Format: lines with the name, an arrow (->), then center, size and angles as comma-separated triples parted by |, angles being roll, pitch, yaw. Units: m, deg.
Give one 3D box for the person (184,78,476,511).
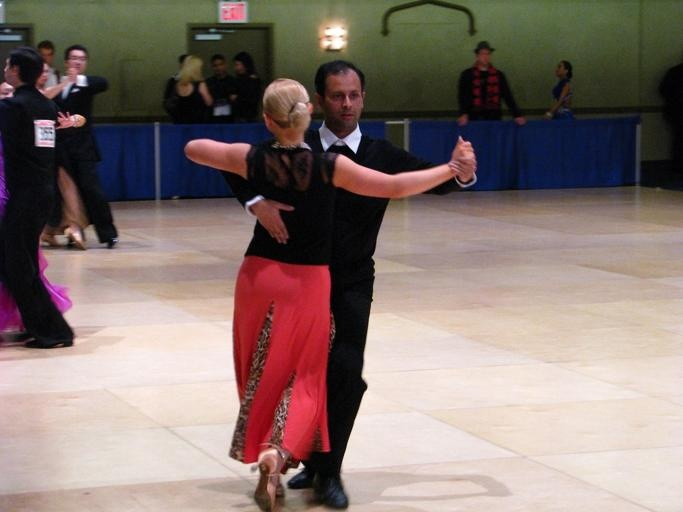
person -> -0.140, 0.178, 2.952 | 0.812, 1.759, 0.522 | -6, 14, -20
